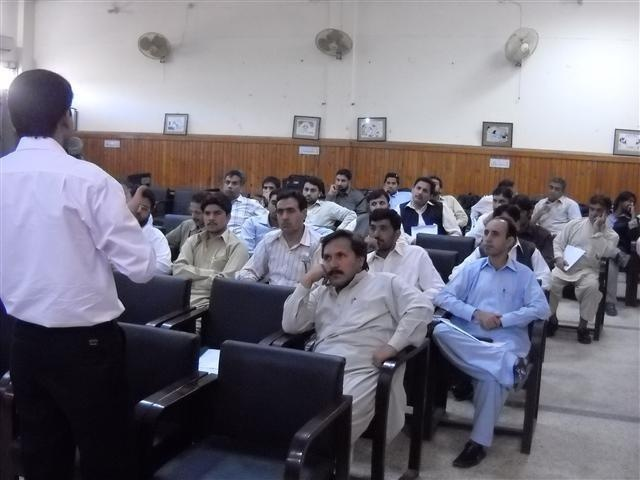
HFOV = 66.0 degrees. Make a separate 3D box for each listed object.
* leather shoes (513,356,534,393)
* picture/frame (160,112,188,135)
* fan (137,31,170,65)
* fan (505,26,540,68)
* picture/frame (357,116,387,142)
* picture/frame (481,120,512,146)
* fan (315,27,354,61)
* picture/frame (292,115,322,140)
[{"bbox_3d":[1.145,0.759,2.859,0.114,0.219,0.117,15,-9,-31],"label":"leather shoes"},{"bbox_3d":[-2.728,-2.185,9.186,0.379,0.346,0.039,7,17,12],"label":"picture/frame"},{"bbox_3d":[-2.995,-3.467,8.848,0.448,0.467,0.431,3,9,15],"label":"fan"},{"bbox_3d":[3.131,-3.022,7.650,0.475,0.558,0.508,4,9,18],"label":"fan"},{"bbox_3d":[0.914,-1.936,8.532,0.416,0.339,0.048,3,16,15],"label":"picture/frame"},{"bbox_3d":[2.932,-1.778,8.106,0.382,0.357,0.038,1,7,8],"label":"picture/frame"},{"bbox_3d":[0.225,-3.270,8.243,0.635,0.409,0.444,1,9,1],"label":"fan"},{"bbox_3d":[-0.223,-1.994,8.703,0.385,0.362,0.040,4,3,7],"label":"picture/frame"}]
